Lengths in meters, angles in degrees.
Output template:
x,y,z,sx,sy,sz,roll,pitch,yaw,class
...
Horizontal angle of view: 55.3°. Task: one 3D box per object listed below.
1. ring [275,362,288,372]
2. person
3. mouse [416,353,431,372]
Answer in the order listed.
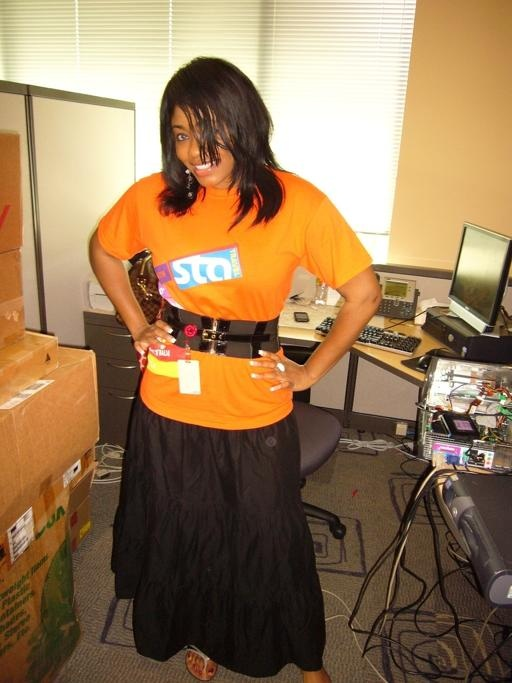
x,y,z,sx,sy,sz,roll,pitch,yaw,class
0.050,0.053,1.016,0.014,0.021,0.005,-39,34,-27,ring
-0.095,0.175,1.160,0.662,1.483,0.276,8,23,11,person
0.657,0.074,1.924,0.043,0.028,0.167,12,24,19,mouse
